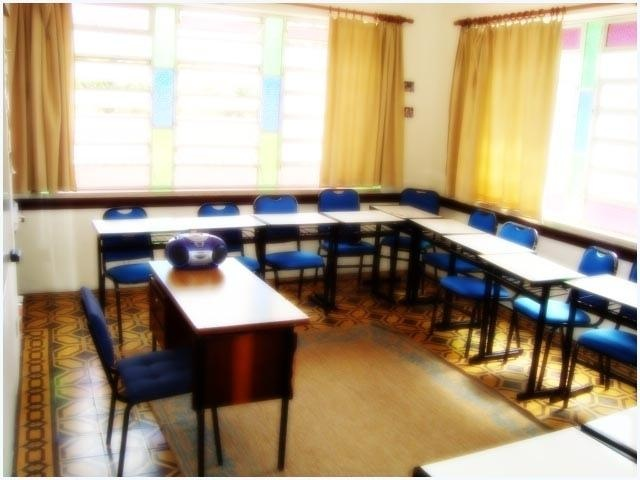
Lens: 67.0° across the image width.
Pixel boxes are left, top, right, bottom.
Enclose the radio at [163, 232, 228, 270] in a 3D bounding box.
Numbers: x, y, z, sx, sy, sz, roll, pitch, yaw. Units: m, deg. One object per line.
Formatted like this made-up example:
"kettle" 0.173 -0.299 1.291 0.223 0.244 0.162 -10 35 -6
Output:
"radio" -0.875 0.085 3.389 0.397 0.239 0.207 -6 16 -18
